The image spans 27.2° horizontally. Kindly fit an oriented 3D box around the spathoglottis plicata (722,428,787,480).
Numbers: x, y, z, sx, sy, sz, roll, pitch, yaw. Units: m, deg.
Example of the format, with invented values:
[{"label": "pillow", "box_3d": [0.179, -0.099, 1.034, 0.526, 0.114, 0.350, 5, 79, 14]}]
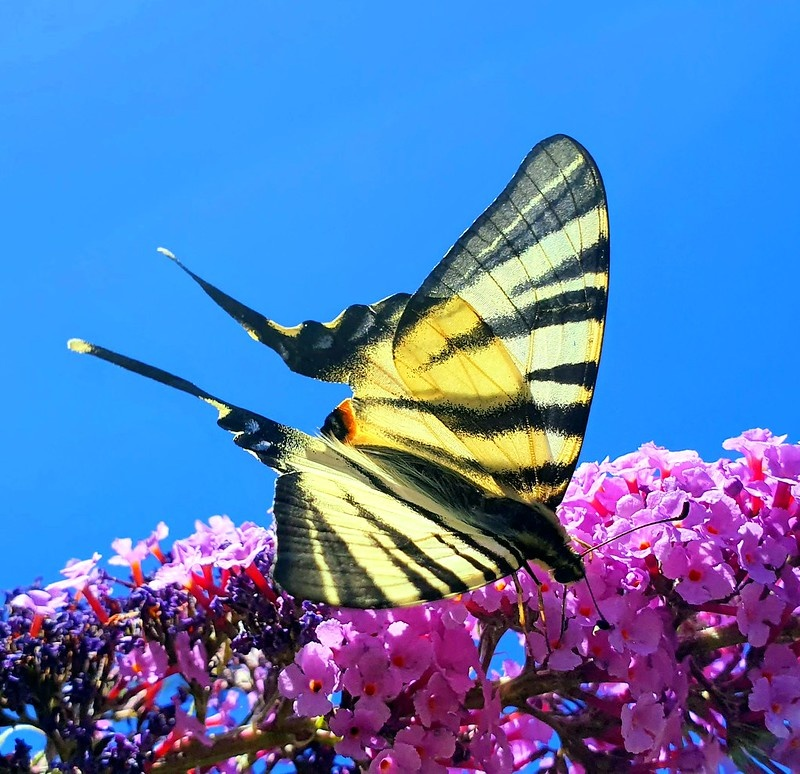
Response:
[{"label": "spathoglottis plicata", "box_3d": [1.214, 0.238, 5.802, 0.203, 0.088, 0.180, 0, 3, 5]}]
